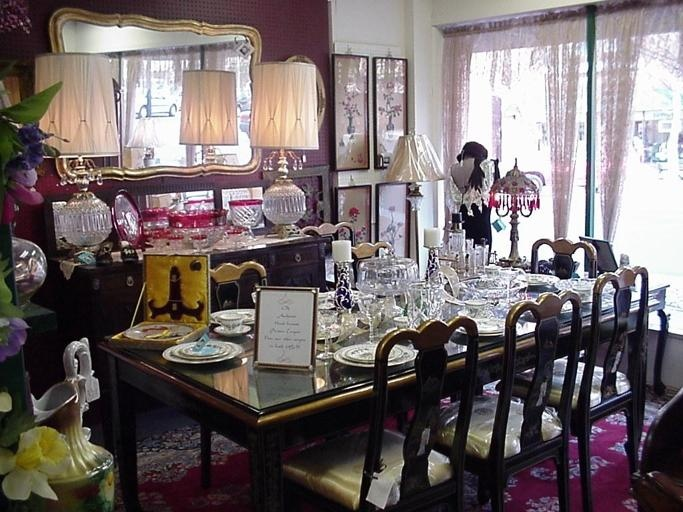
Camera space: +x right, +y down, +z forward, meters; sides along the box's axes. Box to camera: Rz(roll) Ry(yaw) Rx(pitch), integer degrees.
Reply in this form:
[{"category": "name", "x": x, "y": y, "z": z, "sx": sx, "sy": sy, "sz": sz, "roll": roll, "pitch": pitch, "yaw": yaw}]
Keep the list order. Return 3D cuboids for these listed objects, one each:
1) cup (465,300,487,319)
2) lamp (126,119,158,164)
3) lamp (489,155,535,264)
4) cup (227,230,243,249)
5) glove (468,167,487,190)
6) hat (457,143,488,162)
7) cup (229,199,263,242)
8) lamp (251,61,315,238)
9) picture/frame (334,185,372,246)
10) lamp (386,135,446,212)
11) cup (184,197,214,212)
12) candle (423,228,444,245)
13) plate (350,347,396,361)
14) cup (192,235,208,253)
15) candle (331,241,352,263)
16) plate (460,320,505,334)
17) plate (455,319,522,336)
[{"category": "cup", "x": 0.613, "y": 0.227, "z": 2.429, "sx": 0.080, "sy": 0.066, "sz": 0.086, "roll": 0, "pitch": 1, "yaw": 0}, {"category": "lamp", "x": -1.442, "y": -0.834, "z": 3.901, "sx": 0.249, "sy": 0.365, "sz": 0.268, "roll": 4, "pitch": 8, "yaw": 11}, {"category": "lamp", "x": 1.166, "y": -0.311, "z": 3.617, "sx": 0.303, "sy": 0.684, "sz": 0.533, "roll": 2, "pitch": 11, "yaw": 19}, {"category": "cup", "x": -0.775, "y": -0.127, "z": 3.863, "sx": 0.097, "sy": 0.118, "sz": 0.102, "roll": -1, "pitch": 10, "yaw": 0}, {"category": "glove", "x": 1.155, "y": -0.673, "z": 4.544, "sx": 0.117, "sy": 0.182, "sz": 0.081, "roll": 17, "pitch": 23, "yaw": 39}, {"category": "hat", "x": 1.155, "y": -0.926, "z": 4.637, "sx": 0.145, "sy": 0.173, "sz": 0.210, "roll": 6, "pitch": 18, "yaw": 13}, {"category": "cup", "x": -0.726, "y": -0.287, "z": 4.189, "sx": 0.253, "sy": 0.317, "sz": 0.273, "roll": -1, "pitch": 2, "yaw": 0}, {"category": "lamp", "x": -0.413, "y": -0.777, "z": 4.055, "sx": 0.479, "sy": 1.264, "sz": 0.799, "roll": -2, "pitch": 10, "yaw": -3}, {"category": "picture/frame", "x": 0.096, "y": -0.408, "z": 5.037, "sx": 0.552, "sy": 0.877, "sz": 0.037, "roll": -5, "pitch": 5, "yaw": -44}, {"category": "lamp", "x": 0.447, "y": -0.606, "z": 3.276, "sx": 0.347, "sy": 0.294, "sz": 0.236, "roll": -1, "pitch": 10, "yaw": 5}, {"category": "cup", "x": -1.106, "y": -0.386, "z": 4.181, "sx": 0.171, "sy": 0.068, "sz": 0.131, "roll": -4, "pitch": 5, "yaw": -43}, {"category": "candle", "x": 0.470, "y": -0.105, "z": 2.754, "sx": 0.086, "sy": 0.090, "sz": 0.084, "roll": 1, "pitch": 1, "yaw": -33}, {"category": "plate", "x": 0.086, "y": 0.363, "z": 2.001, "sx": 0.080, "sy": 0.013, "sz": 0.085, "roll": -1, "pitch": 12, "yaw": -10}, {"category": "cup", "x": -0.976, "y": -0.091, "z": 3.734, "sx": 0.099, "sy": 0.127, "sz": 0.116, "roll": 4, "pitch": 11, "yaw": 23}, {"category": "candle", "x": 0.000, "y": -0.024, "z": 2.418, "sx": 0.084, "sy": 0.106, "sz": 0.088, "roll": 5, "pitch": 11, "yaw": 30}, {"category": "plate", "x": 0.624, "y": 0.297, "z": 2.257, "sx": 0.105, "sy": 0.023, "sz": 0.112, "roll": -2, "pitch": 9, "yaw": -10}, {"category": "plate", "x": 0.651, "y": 0.294, "z": 2.283, "sx": 0.162, "sy": 0.035, "sz": 0.161, "roll": -5, "pitch": 6, "yaw": -43}]
